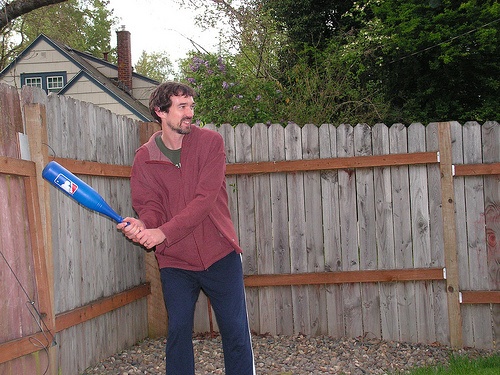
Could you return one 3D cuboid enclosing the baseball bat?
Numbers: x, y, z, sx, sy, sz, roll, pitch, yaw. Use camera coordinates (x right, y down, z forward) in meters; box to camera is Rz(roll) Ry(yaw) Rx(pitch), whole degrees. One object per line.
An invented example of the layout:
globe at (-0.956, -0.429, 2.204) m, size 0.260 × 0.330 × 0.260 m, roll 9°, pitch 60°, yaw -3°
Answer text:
baseball bat at (-1.683, 0.106, 5.347) m, size 0.999 × 0.186 × 0.179 m, roll 45°, pitch -32°, yaw -14°
